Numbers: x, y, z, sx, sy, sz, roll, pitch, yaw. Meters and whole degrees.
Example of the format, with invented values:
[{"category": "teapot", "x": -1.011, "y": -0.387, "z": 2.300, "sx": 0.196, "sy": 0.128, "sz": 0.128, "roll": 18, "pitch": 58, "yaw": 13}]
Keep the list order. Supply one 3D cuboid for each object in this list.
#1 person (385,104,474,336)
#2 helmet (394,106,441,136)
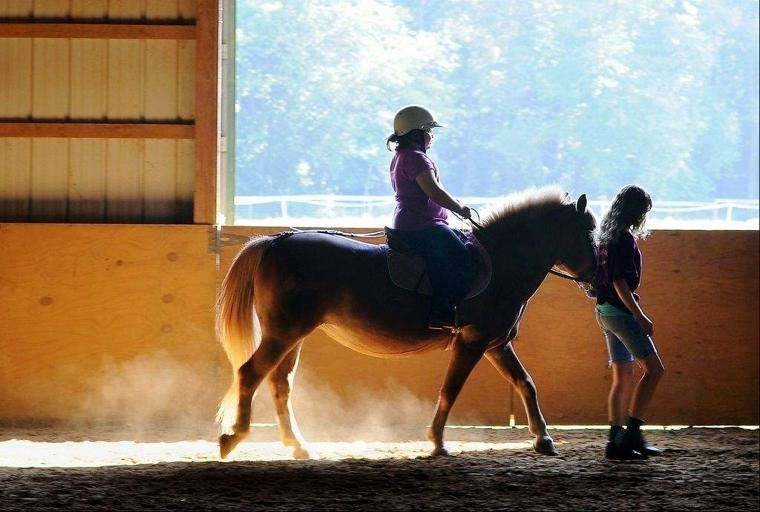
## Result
[{"category": "person", "x": 0.469, "y": -0.389, "z": 12.126, "sx": 0.849, "sy": 2.182, "sz": 0.529, "roll": 5, "pitch": 10, "yaw": 41}, {"category": "helmet", "x": 0.333, "y": -1.336, "z": 12.153, "sx": 0.489, "sy": 0.173, "sz": 0.294, "roll": -9, "pitch": 12, "yaw": -10}]
